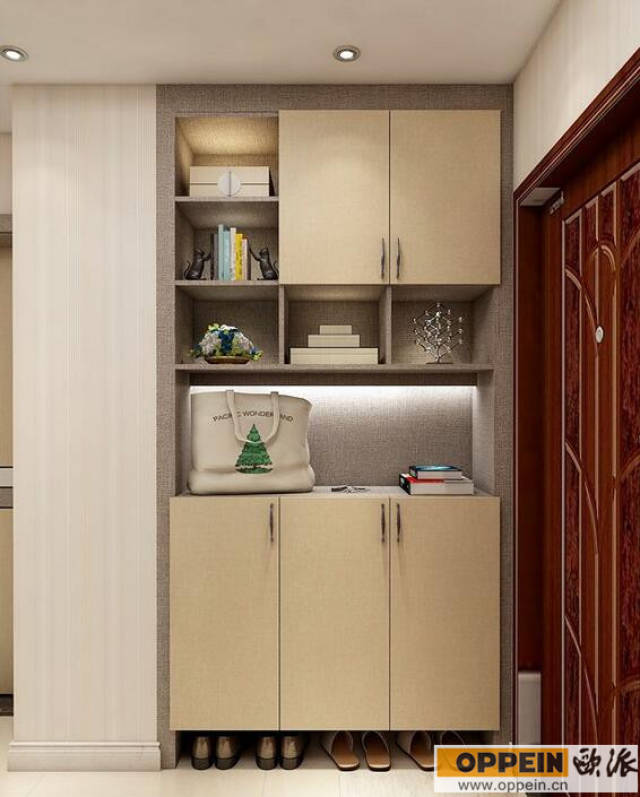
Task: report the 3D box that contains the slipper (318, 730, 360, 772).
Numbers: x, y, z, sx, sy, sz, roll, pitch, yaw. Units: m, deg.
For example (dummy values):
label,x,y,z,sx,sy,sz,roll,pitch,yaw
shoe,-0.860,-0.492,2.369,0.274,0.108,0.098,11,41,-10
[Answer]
label,x,y,z,sx,sy,sz,roll,pitch,yaw
slipper,0.064,1.246,3.097,0.109,0.087,0.300,1,-2,-1

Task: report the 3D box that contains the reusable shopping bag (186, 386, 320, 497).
label,x,y,z,sx,sy,sz,roll,pitch,yaw
reusable shopping bag,-0.254,0.160,3.110,0.321,0.318,0.127,0,-1,-5

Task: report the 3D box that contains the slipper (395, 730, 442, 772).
label,x,y,z,sx,sy,sz,roll,pitch,yaw
slipper,0.353,1.228,3.101,0.123,0.072,0.200,-4,10,-14
